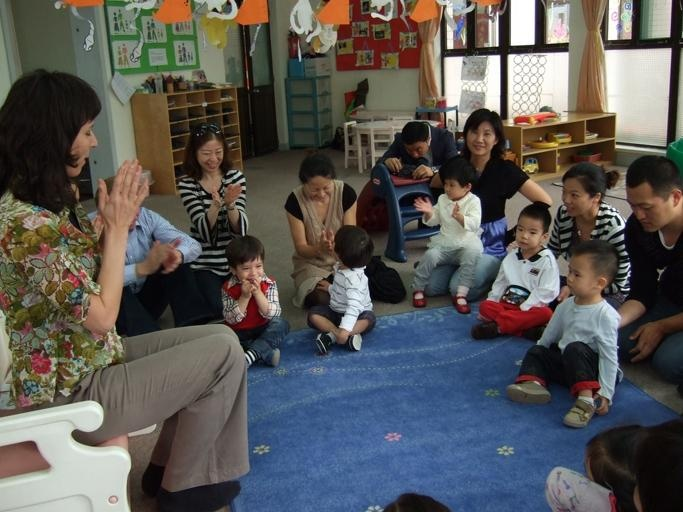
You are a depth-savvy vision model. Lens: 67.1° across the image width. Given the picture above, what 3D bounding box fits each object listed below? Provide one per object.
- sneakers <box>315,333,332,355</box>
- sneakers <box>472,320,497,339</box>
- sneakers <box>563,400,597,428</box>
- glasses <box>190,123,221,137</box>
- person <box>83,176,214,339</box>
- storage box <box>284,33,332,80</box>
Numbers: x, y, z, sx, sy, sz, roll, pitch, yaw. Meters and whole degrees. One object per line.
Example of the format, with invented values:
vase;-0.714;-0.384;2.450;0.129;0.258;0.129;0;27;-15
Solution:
sneakers;-0.075;0.418;2.518;0.046;0.136;0.052;-1;28;36
sneakers;0.717;0.376;2.643;0.116;0.129;0.071;0;9;-10
sneakers;0.905;0.603;1.954;0.065;0.073;0.156;10;19;32
glasses;-0.772;-0.707;2.920;0.098;0.107;0.032;-6;51;-28
person;-1.000;-0.006;2.572;0.608;0.849;0.481;5;19;31
storage box;-0.510;-3.217;8.181;0.719;0.712;0.405;-3;15;-1
